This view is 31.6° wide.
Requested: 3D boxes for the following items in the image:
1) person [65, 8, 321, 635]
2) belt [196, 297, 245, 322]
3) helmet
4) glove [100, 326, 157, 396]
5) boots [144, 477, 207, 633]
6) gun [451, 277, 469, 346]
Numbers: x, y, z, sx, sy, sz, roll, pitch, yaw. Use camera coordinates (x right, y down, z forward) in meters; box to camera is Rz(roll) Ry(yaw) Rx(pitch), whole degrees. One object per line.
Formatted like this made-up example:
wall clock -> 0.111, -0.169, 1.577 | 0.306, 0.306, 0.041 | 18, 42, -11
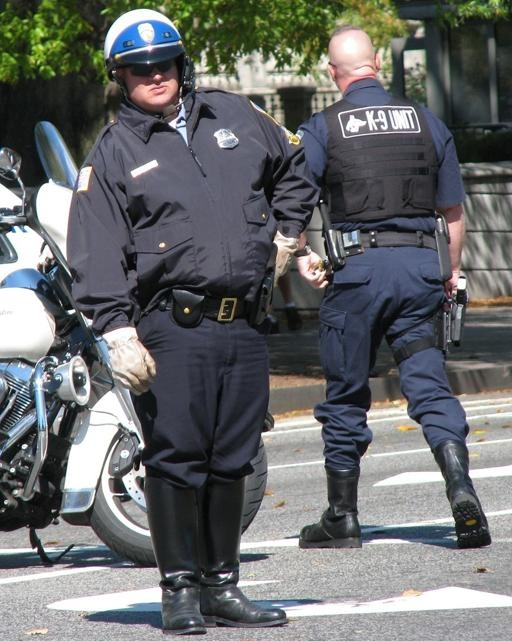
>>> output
person -> -0.191, -0.038, 2.725 | 0.438, 1.787, 0.762 | 1, 14, 36
belt -> -0.091, -0.031, 2.593 | 0.094, 0.073, 0.023 | -5, 8, -22
helmet -> -0.343, -0.832, 2.744 | 0.226, 0.202, 0.230 | -11, 24, -12
glove -> -0.347, 0.112, 2.509 | 0.154, 0.166, 0.083 | -26, -3, 20
boots -> -0.221, 0.679, 2.588 | 0.153, 0.457, 0.205 | -8, 11, -5
gun -> 0.943, -0.038, 4.231 | 0.093, 0.370, 0.198 | 4, -10, 8
